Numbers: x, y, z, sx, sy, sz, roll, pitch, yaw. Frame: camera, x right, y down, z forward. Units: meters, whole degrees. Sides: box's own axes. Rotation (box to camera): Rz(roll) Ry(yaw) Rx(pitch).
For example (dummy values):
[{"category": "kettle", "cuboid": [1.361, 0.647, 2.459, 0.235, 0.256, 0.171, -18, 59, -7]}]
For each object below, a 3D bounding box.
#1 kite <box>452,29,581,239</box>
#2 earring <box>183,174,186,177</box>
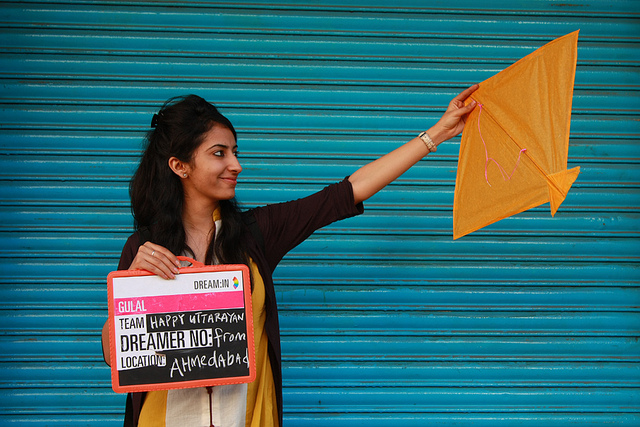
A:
[{"category": "kite", "cuboid": [1.505, -0.575, 6.615, 0.903, 1.493, 0.199, 1, -5, 40]}, {"category": "earring", "cuboid": [-1.073, -0.295, 6.753, 0.020, 0.014, 0.005, 3, -3, 0]}]
